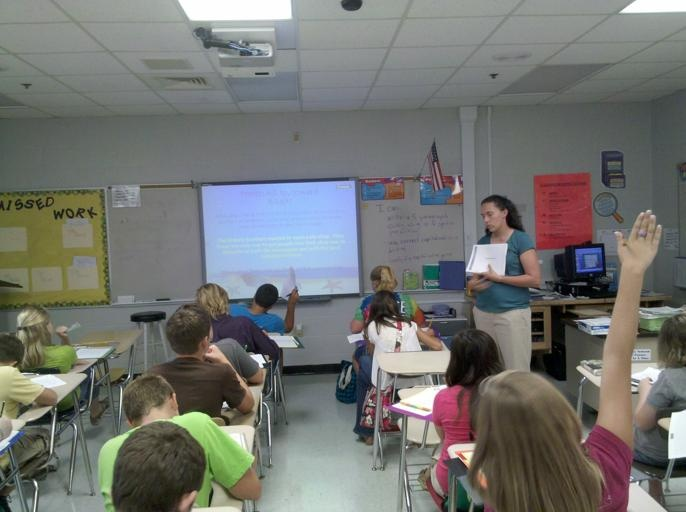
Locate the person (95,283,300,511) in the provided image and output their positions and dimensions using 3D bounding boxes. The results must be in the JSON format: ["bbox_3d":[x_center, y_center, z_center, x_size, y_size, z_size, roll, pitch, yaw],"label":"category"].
[{"bbox_3d":[-0.787,0.686,2.640,0.640,0.766,1.150,-3,8,-11],"label":"person"}]

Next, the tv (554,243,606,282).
[{"bbox_3d":[2.597,0.058,5.657,0.390,0.422,0.461,-2,4,-3],"label":"tv"}]

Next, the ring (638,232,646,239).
[{"bbox_3d":[0.951,-0.066,1.637,0.017,0.019,0.032,24,11,25],"label":"ring"}]

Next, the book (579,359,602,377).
[{"bbox_3d":[1.612,0.725,3.324,0.162,0.044,0.177,-3,5,-13],"label":"book"}]

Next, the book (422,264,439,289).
[{"bbox_3d":[1.009,0.241,6.075,0.240,0.362,0.246,0,-3,7],"label":"book"}]

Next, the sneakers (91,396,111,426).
[{"bbox_3d":[-2.161,1.361,4.565,0.097,0.119,0.274,-2,13,-3],"label":"sneakers"}]

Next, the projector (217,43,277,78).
[{"bbox_3d":[-0.757,-1.551,4.062,0.420,0.165,0.612,-3,8,-7],"label":"projector"}]

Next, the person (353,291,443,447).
[{"bbox_3d":[0.384,0.878,3.848,0.648,0.783,1.072,-1,14,-9],"label":"person"}]

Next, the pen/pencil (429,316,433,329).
[{"bbox_3d":[0.901,0.693,5.282,0.019,0.136,0.016,6,-3,29],"label":"pen/pencil"}]
